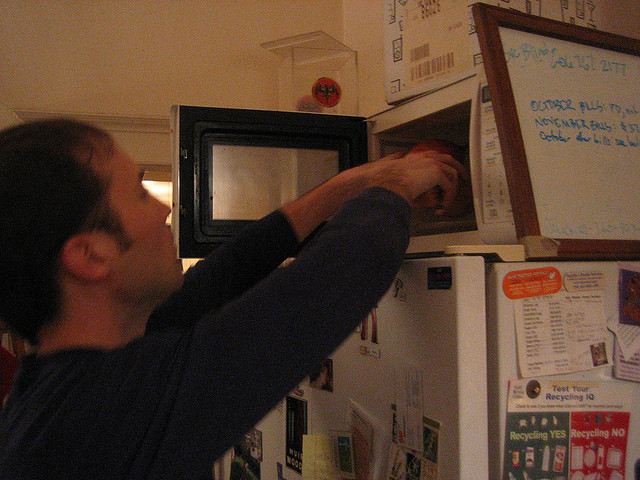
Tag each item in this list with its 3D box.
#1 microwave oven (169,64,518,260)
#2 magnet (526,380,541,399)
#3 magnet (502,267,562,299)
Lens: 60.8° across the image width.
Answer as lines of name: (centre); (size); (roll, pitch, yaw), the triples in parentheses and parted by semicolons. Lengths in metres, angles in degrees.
microwave oven: (-0.014, -0.126, 1.277); (0.711, 0.421, 0.487); (-2, 8, -14)
magnet: (0.353, 0.245, 0.900); (0.024, 0.030, 0.005); (3, -5, -5)
magnet: (0.353, 0.071, 0.904); (0.091, 0.046, 0.012); (-4, 3, -19)
